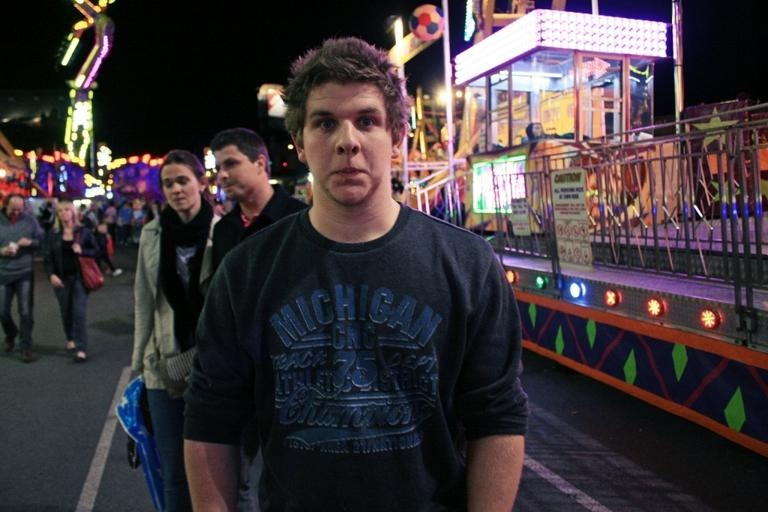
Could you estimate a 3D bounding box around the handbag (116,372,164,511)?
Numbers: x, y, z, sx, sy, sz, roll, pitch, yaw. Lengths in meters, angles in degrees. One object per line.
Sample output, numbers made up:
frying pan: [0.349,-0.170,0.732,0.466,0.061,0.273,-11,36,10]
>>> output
handbag: [-2.296,1.814,6.115,0.262,1.169,0.643,-8,6,-25]

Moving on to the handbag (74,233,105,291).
handbag: [-4.917,0.064,10.797,0.430,1.095,0.261,-1,33,3]

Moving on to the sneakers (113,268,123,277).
sneakers: [-7.270,0.446,17.518,0.197,0.204,0.460,28,-14,-18]
